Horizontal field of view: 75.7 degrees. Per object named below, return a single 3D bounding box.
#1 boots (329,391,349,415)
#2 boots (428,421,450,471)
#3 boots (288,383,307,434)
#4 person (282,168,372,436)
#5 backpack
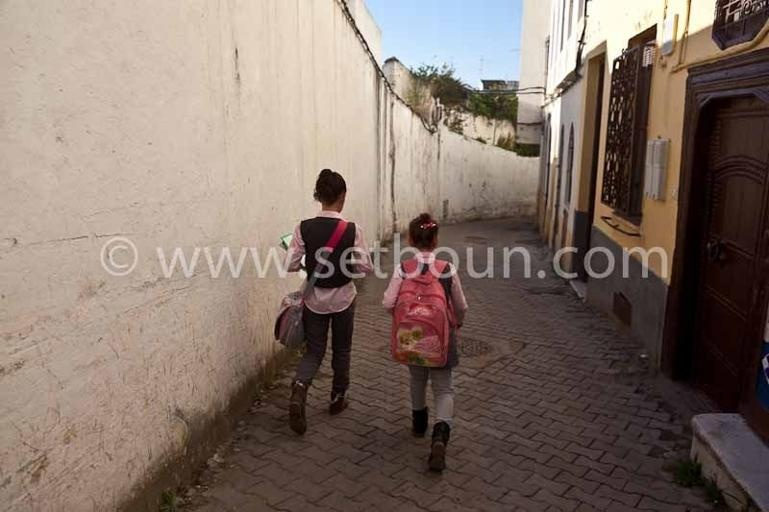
[{"bbox_3d":[-0.439,1.412,4.935,0.116,0.252,0.254,9,25,19],"label":"boots"},{"bbox_3d":[0.434,1.551,4.006,0.133,0.184,0.415,2,7,4],"label":"boots"},{"bbox_3d":[-0.747,1.324,4.400,0.142,0.471,0.191,1,13,7],"label":"boots"},{"bbox_3d":[-0.582,0.394,4.590,0.859,2.344,0.511,-7,13,-37],"label":"person"},{"bbox_3d":[0.292,0.451,4.086,0.452,0.828,0.316,1,10,0],"label":"backpack"}]
